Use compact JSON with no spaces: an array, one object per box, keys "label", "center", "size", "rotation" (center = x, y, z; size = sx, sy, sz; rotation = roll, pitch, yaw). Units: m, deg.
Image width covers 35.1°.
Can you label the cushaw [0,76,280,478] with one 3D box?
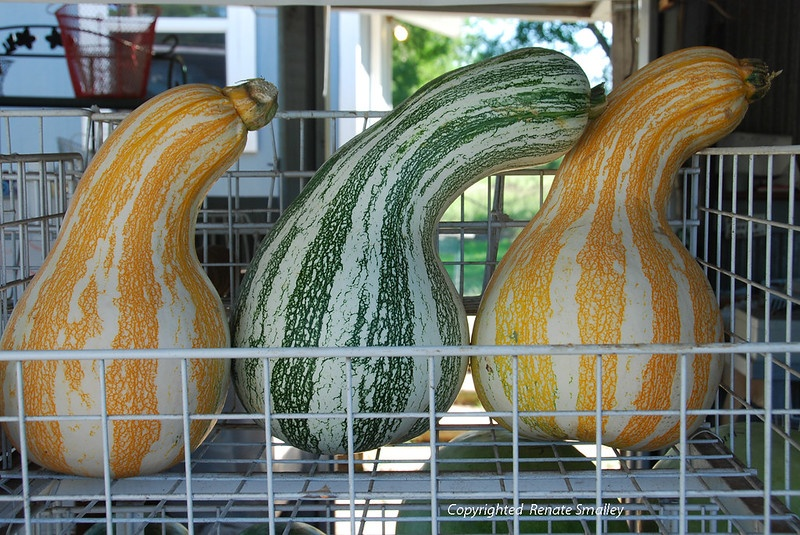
[{"label":"cushaw","center":[-0.463,0.024,2.223],"size":[0.494,0.708,0.227],"rotation":[-1,5,-1]}]
